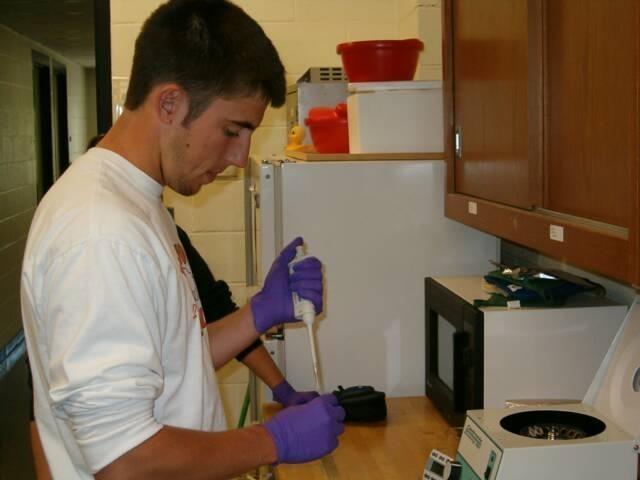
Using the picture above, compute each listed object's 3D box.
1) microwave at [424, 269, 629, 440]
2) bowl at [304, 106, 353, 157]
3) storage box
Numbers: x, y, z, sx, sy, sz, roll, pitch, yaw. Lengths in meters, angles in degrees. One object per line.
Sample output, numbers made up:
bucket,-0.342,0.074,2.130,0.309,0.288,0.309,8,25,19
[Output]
microwave,0.549,0.298,1.663,0.338,0.375,0.506,0,-1,-5
bowl,0.027,-0.392,2.041,0.176,0.194,0.176,0,11,0
storage box,0.248,-0.357,1.888,0.228,0.172,0.254,-2,2,-9
